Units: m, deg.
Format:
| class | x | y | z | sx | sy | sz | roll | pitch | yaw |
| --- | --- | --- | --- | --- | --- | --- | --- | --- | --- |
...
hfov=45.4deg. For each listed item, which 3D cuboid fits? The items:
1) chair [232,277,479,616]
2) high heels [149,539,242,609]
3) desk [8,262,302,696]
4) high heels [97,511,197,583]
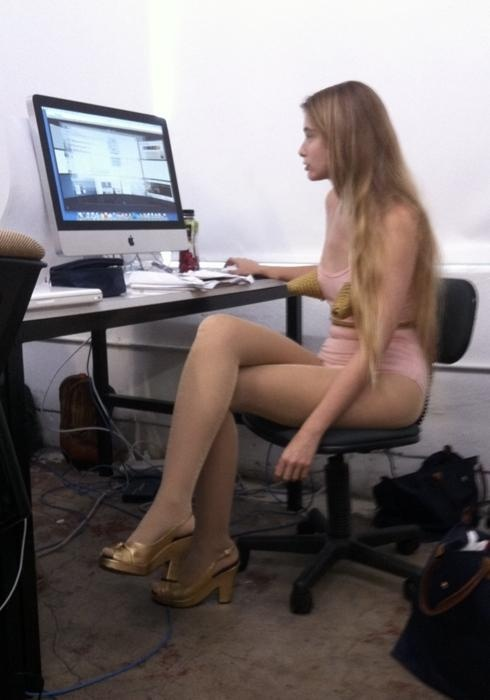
| class | x | y | z | sx | sy | sz | roll | pitch | yaw |
| --- | --- | --- | --- | --- | --- | --- | --- | --- | --- |
| chair | 0.193 | 0.214 | 1.407 | 0.494 | 0.646 | 0.456 | 2 | 4 | 10 |
| high heels | -0.090 | 0.479 | 1.287 | 0.212 | 0.132 | 0.103 | -2 | 6 | -29 |
| desk | -0.190 | 0.301 | 1.375 | 0.381 | 0.411 | 0.917 | 8 | 16 | 30 |
| high heels | -0.165 | 0.343 | 1.069 | 0.072 | 0.073 | 0.209 | 3 | 6 | 39 |
